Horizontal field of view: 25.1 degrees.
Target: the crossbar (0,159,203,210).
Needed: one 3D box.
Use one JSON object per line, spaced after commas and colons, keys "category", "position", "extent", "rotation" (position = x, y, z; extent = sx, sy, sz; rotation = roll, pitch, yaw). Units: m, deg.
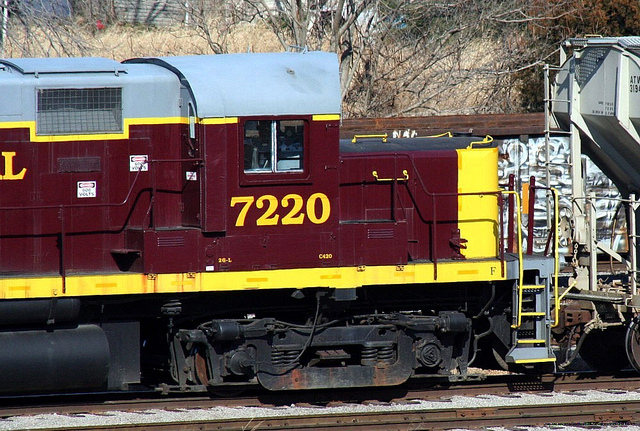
{"category": "crossbar", "position": [-3.945, -0.536, 25.711], "extent": [3.558, 0.803, 0.500], "rotation": [-3, 3, -5]}
